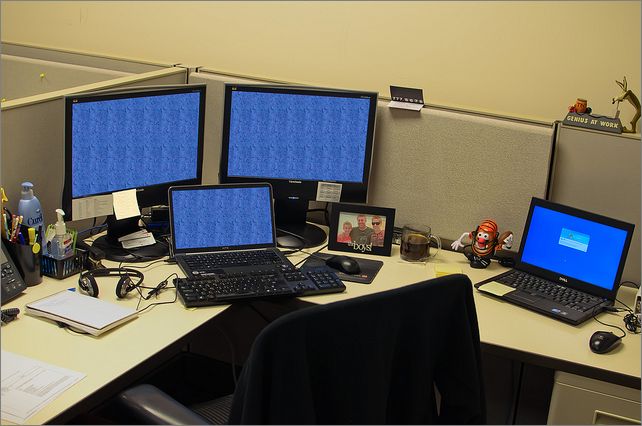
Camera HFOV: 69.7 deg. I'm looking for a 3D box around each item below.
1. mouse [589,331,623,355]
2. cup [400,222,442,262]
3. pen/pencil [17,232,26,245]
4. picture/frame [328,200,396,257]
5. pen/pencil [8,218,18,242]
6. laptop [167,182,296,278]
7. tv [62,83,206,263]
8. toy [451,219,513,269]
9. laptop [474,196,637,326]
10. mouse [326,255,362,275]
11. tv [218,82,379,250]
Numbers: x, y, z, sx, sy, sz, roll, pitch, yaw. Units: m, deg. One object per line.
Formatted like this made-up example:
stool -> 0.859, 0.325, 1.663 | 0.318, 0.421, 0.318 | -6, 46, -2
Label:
mouse -> 0.932, 0.417, 1.508 | 0.072, 0.052, 0.139 | 16, 21, 43
cup -> 0.422, 0.134, 1.921 | 0.176, 0.122, 0.111 | 10, 17, 26
pen/pencil -> -1.012, 0.088, 1.552 | 0.040, 0.027, 0.013 | 41, 42, 13
picture/frame -> 0.166, 0.072, 1.946 | 0.246, 0.178, 0.023 | 5, 2, 5
pen/pencil -> -1.029, 0.053, 1.544 | 0.021, 0.096, 0.027 | 7, 1, -2
laptop -> -0.322, 0.071, 1.741 | 0.434, 0.251, 0.326 | -2, 22, -31
tv -> -0.722, -0.156, 1.765 | 0.623, 0.636, 0.281 | -11, 22, -37
toy -> 0.682, 0.127, 1.909 | 0.223, 0.204, 0.119 | 14, 24, 28
laptop -> 0.937, 0.235, 1.831 | 0.487, 0.346, 0.530 | -19, 31, -41
mouse -> 0.096, 0.191, 1.792 | 0.108, 0.036, 0.066 | 15, 22, 37
tv -> -0.126, -0.196, 2.015 | 0.698, 0.681, 0.234 | 6, 11, 4
